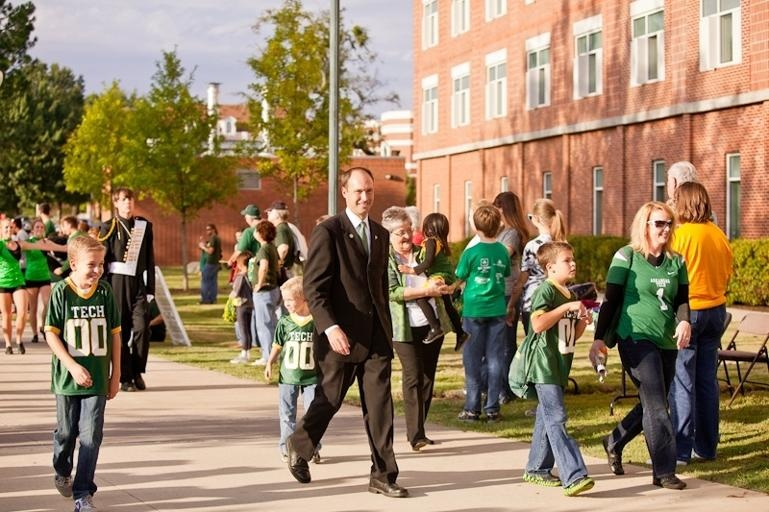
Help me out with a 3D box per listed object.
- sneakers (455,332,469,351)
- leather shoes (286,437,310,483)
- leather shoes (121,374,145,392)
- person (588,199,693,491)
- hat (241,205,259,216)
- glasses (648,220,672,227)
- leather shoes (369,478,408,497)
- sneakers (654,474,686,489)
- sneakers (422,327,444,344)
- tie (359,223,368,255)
[{"bbox_3d":[1.103,1.207,15.184,0.135,0.132,0.313,5,-45,-13],"label":"sneakers"},{"bbox_3d":[-1.028,2.497,13.353,0.285,0.582,0.215,-1,9,-5],"label":"leather shoes"},{"bbox_3d":[-4.034,2.074,17.496,0.168,0.210,0.513,4,-14,-29],"label":"leather shoes"},{"bbox_3d":[3.223,1.072,13.299,1.098,3.428,0.743,3,9,15],"label":"person"},{"bbox_3d":[-2.549,-0.829,20.443,0.361,0.190,0.239,16,21,24],"label":"hat"},{"bbox_3d":[3.417,-0.397,13.242,0.239,0.093,0.068,-2,9,-13],"label":"glasses"},{"bbox_3d":[0.050,2.775,13.010,0.455,0.193,0.191,-1,-1,30],"label":"leather shoes"},{"bbox_3d":[3.494,2.736,13.161,0.166,0.125,0.326,4,-9,-44],"label":"sneakers"},{"bbox_3d":[0.676,1.067,14.423,0.346,0.144,0.124,-31,19,-7],"label":"sneakers"},{"bbox_3d":[-0.227,-0.233,13.199,0.102,0.354,0.087,-3,9,-17],"label":"tie"}]
